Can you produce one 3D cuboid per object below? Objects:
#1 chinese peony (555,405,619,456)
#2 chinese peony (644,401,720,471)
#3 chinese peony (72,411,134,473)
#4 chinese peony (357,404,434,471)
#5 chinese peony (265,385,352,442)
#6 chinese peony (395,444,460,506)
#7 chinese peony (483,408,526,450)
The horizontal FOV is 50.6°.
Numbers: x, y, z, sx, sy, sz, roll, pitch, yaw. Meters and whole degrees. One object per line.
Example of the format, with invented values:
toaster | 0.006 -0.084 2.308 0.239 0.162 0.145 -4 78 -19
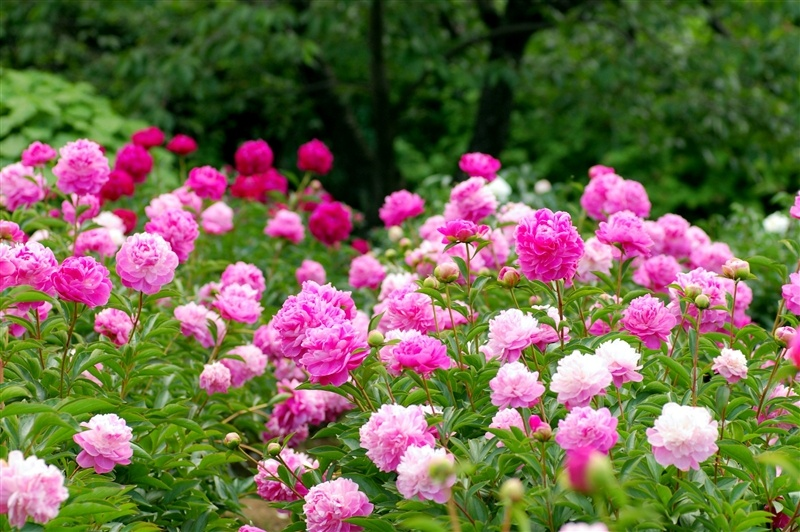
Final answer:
chinese peony | 0.801 0.728 3.608 0.270 0.239 0.134 -5 24 -13
chinese peony | 1.227 0.766 3.633 0.288 0.243 0.290 2 11 -17
chinese peony | -1.359 0.854 3.926 0.251 0.377 0.187 -3 24 -8
chinese peony | -0.003 0.754 3.783 0.277 0.309 0.181 14 0 12
chinese peony | -0.561 0.875 5.017 0.459 0.307 0.467 -22 -3 -26
chinese peony | 0.103 0.887 3.627 0.225 0.191 0.151 4 24 6
chinese peony | 0.486 0.766 3.910 0.182 0.246 0.259 4 25 7
